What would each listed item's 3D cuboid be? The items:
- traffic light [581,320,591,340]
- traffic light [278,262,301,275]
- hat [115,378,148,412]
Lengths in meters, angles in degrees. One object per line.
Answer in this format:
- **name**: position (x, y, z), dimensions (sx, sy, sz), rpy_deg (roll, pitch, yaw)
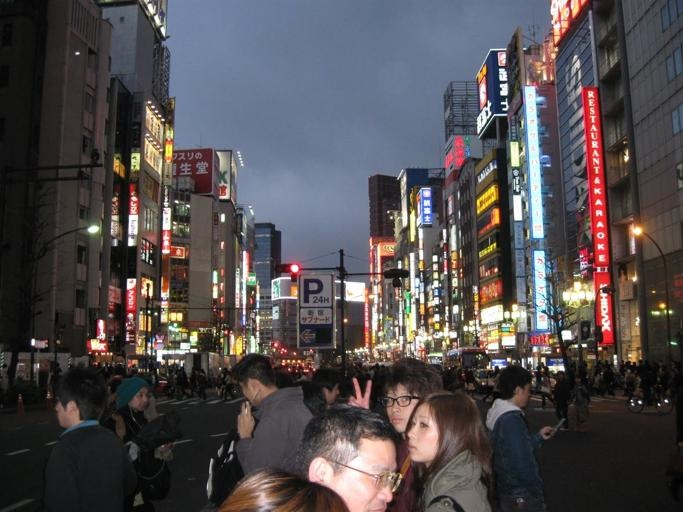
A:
- **traffic light**: position (15.736, 4.801, 42.456), dimensions (0.624, 1.324, 1.744), rpy_deg (-4, -12, 17)
- **traffic light**: position (-1.624, 0.419, 20.462), dimensions (0.280, 0.533, 0.954), rpy_deg (1, -1, 41)
- **hat**: position (-2.539, 1.611, 7.907), dimensions (0.432, 0.273, 0.367), rpy_deg (-24, -7, -16)
